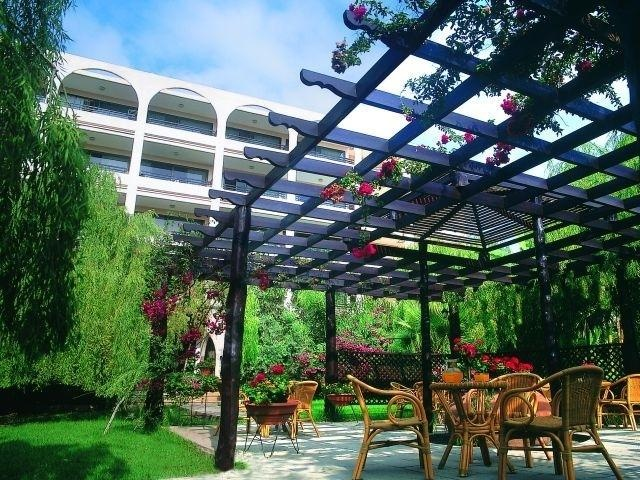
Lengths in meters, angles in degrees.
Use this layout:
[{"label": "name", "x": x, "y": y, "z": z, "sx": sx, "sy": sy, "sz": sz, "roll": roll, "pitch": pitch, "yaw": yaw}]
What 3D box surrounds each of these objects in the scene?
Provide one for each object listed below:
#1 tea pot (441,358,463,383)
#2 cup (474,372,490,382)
[{"label": "tea pot", "x": 1.485, "y": 1.466, "z": 5.926, "sx": 0.203, "sy": 0.253, "sz": 0.212, "roll": 1, "pitch": -18, "yaw": 0}, {"label": "cup", "x": 1.973, "y": 1.674, "z": 6.461, "sx": 0.196, "sy": 0.114, "sz": 0.186, "roll": 0, "pitch": -11, "yaw": 0}]
